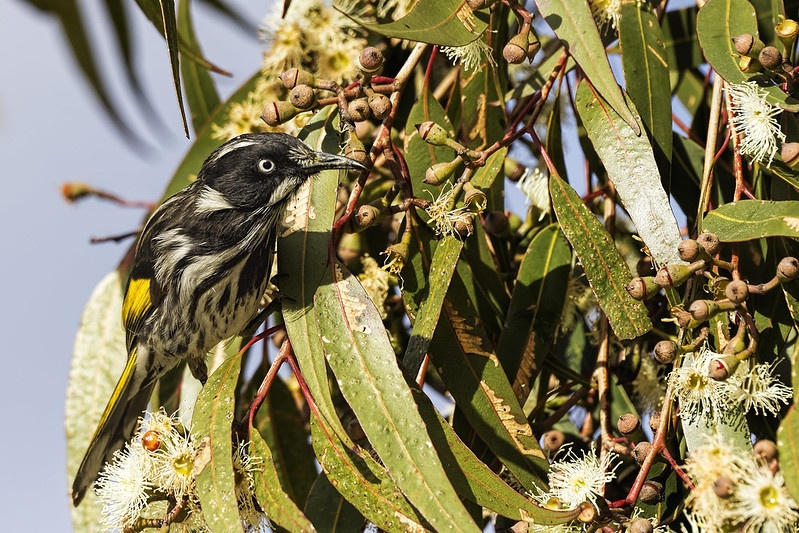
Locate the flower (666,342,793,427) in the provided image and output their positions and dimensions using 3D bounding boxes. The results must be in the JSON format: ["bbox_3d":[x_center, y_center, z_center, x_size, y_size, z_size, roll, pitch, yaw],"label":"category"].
[{"bbox_3d":[1.089,0.394,3.761,0.320,0.284,0.185,-4,-14,0],"label":"flower"}]

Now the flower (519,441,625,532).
[{"bbox_3d":[0.599,0.785,3.859,0.266,0.314,0.114,-26,-54,30],"label":"flower"}]

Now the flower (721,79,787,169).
[{"bbox_3d":[1.252,-0.492,3.933,0.207,0.083,0.251,25,-30,27],"label":"flower"}]

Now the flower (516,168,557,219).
[{"bbox_3d":[0.543,-0.286,4.494,0.076,0.179,0.156,-1,-49,-32],"label":"flower"}]
